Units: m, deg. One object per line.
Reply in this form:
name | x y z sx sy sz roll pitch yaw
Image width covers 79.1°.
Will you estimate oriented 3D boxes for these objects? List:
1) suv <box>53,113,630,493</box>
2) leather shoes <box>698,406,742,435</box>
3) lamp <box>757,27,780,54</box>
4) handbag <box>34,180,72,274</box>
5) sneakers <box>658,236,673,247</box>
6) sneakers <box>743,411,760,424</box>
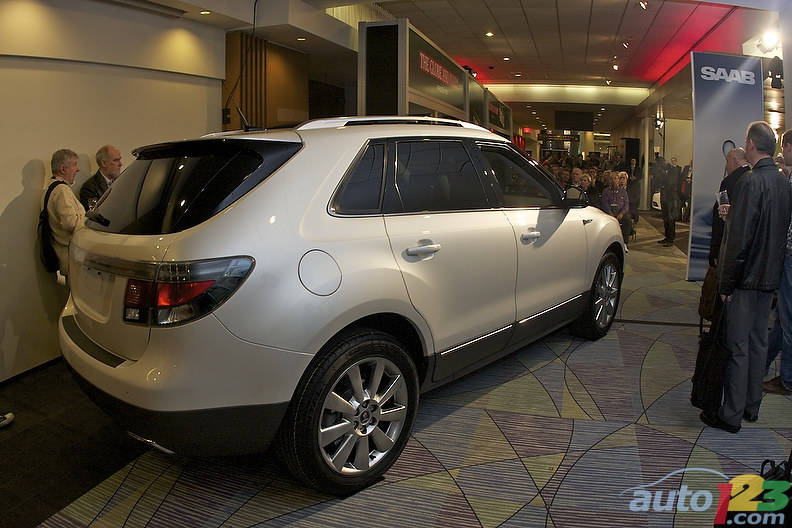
suv | 0.057 -0.077 4.067 2.060 1.784 4.350 10 16 43
leather shoes | 2.506 1.194 3.784 0.146 0.161 0.361 -2 9 -37
lamp | 8.968 -5.314 11.429 0.270 0.587 1.288 5 16 25
handbag | -3.580 -0.351 4.932 0.216 0.778 0.551 2 9 -2
sneakers | 7.271 -0.581 12.831 0.217 0.266 0.606 4 12 30
sneakers | 2.865 1.219 3.821 0.053 0.067 0.146 -1 -8 -16
